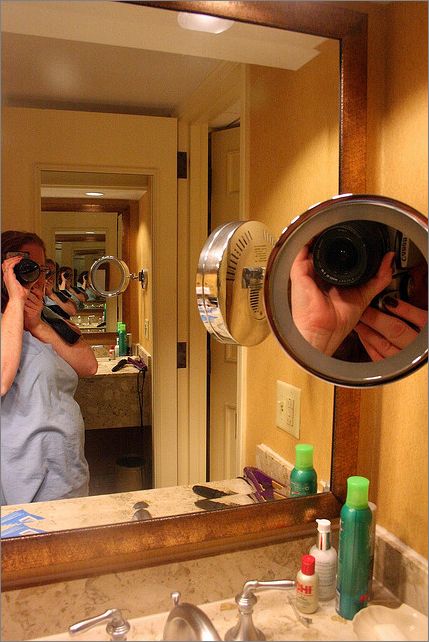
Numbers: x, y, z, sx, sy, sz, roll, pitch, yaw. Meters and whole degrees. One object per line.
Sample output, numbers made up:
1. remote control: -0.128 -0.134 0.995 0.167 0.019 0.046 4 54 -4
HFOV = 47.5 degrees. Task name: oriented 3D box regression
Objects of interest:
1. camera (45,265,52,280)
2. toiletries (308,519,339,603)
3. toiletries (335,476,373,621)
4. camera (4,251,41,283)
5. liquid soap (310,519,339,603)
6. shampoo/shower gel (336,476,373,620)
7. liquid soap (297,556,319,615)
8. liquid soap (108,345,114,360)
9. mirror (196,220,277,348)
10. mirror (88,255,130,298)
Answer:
1. camera: -0.270 -0.079 0.789 0.012 0.018 0.010 6 17 22
2. toiletries: 0.193 0.422 0.851 0.041 0.138 0.071 -1 14 -24
3. toiletries: 0.237 0.385 0.828 0.057 0.231 0.047 0 2 14
4. camera: -0.305 -0.083 0.787 0.049 0.048 0.048 36 -20 -31
5. liquid soap: 0.194 0.430 0.852 0.049 0.155 0.055 1 0 -1
6. shampoo/shower gel: 0.235 0.379 0.843 0.059 0.229 0.072 1 0 19
7. liquid soap: 0.156 0.442 0.820 0.039 0.111 0.059 0 2 10
8. liquid soap: -0.173 0.053 0.819 0.009 0.025 0.007 0 2 -13
9. mirror: 0.032 -0.071 0.852 0.202 0.254 0.071 -5 8 -37
10. mirror: -0.172 -0.075 0.813 0.061 0.105 0.035 0 1 -9
